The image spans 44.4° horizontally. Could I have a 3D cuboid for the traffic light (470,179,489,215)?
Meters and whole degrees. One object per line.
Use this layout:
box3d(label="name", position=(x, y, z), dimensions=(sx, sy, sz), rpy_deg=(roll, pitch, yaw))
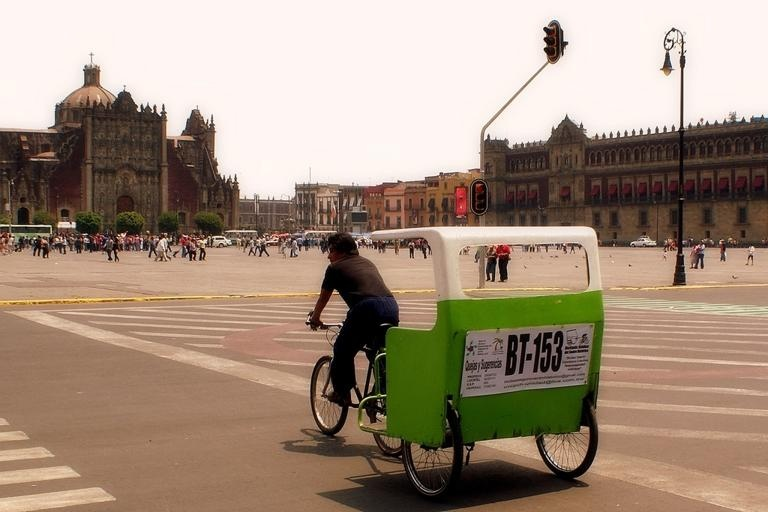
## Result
box3d(label="traffic light", position=(2.577, -1.624, 25.671), dimensions=(0.457, 0.964, 1.495), rpy_deg=(-1, 1, 5))
